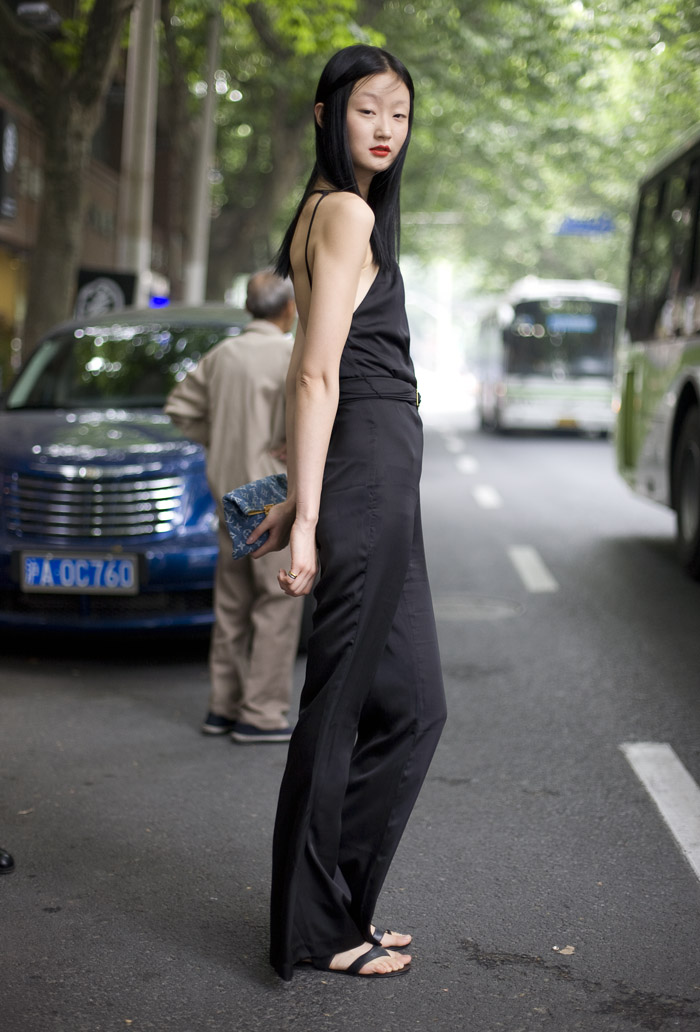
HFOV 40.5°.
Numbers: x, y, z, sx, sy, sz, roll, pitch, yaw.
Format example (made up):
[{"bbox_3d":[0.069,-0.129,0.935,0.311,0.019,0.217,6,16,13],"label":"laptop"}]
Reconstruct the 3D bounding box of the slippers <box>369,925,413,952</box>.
[{"bbox_3d":[0.077,0.817,1.838,0.102,0.036,0.050,9,24,-19],"label":"slippers"}]

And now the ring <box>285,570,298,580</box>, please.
[{"bbox_3d":[-0.090,0.092,1.469,0.013,0.011,0.017,3,4,11],"label":"ring"}]

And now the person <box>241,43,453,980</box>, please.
[{"bbox_3d":[-0.057,0.025,1.656,0.397,1.556,0.452,3,3,17],"label":"person"}]
